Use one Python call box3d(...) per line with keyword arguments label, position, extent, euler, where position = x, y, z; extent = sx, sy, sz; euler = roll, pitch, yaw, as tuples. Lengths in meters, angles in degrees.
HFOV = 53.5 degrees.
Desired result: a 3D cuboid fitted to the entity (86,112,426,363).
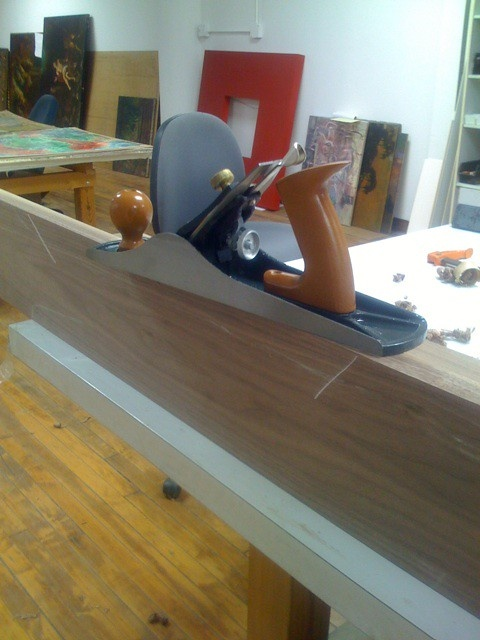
box3d(label="entity", position=(0.011, -0.105, 0.477), extent=(0.390, 0.162, 0.113), euler=(23, 30, 37))
